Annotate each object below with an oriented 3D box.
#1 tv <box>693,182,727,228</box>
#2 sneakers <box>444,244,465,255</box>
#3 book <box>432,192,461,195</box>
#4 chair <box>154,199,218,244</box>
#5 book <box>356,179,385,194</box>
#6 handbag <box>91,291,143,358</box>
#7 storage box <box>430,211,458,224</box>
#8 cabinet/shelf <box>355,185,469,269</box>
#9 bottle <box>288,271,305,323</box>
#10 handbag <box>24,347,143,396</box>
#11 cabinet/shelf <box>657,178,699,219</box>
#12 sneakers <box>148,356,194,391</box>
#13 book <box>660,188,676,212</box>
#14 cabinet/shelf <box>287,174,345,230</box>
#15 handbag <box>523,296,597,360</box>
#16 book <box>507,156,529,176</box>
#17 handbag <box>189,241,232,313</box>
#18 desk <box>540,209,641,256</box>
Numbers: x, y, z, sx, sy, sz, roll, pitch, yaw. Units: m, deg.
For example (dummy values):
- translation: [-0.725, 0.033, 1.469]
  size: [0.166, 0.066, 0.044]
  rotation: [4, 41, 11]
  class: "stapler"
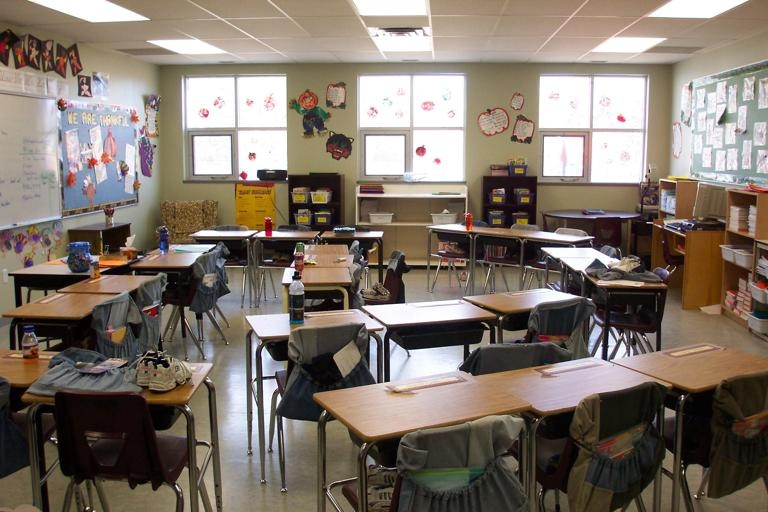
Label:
- translation: [4.809, -0.794, 8.390]
  size: [0.525, 0.527, 0.545]
  rotation: [-1, 3, -38]
  class: "tv"
- translation: [1.095, -0.109, 8.784]
  size: [0.283, 0.118, 0.130]
  rotation: [4, 9, 31]
  class: "sneakers"
- translation: [1.149, -1.164, 10.340]
  size: [0.492, 0.051, 0.294]
  rotation: [0, 7, 4]
  class: "book"
- translation: [-3.741, -0.716, 10.674]
  size: [0.968, 1.164, 0.947]
  rotation: [-1, 2, -23]
  class: "chair"
- translation: [-0.249, -1.272, 10.425]
  size: [0.467, 0.217, 0.528]
  rotation: [0, 7, -1]
  class: "book"
- translation: [-2.191, 0.572, 4.637]
  size: [0.180, 0.567, 0.437]
  rotation: [2, 11, 20]
  class: "handbag"
- translation: [1.075, -0.691, 10.122]
  size: [0.337, 0.132, 0.246]
  rotation: [1, 15, 2]
  class: "storage box"
- translation: [0.488, -0.574, 9.787]
  size: [1.502, 1.153, 0.570]
  rotation: [0, 5, 0]
  class: "cabinet/shelf"
- translation: [-0.712, 0.322, 4.559]
  size: [0.116, 0.387, 0.240]
  rotation: [-2, 8, -13]
  class: "bottle"
- translation: [-1.900, 0.724, 3.618]
  size: [0.644, 0.182, 0.516]
  rotation: [-2, 8, -17]
  class: "handbag"
- translation: [4.736, -0.937, 9.054]
  size: [0.267, 0.757, 0.687]
  rotation: [2, 5, 2]
  class: "cabinet/shelf"
- translation: [-1.352, 0.733, 3.601]
  size: [0.127, 0.137, 0.296]
  rotation: [1, 7, 12]
  class: "sneakers"
- translation: [4.686, -0.920, 9.321]
  size: [0.228, 0.384, 0.391]
  rotation: [-2, 9, 0]
  class: "book"
- translation: [-1.215, -0.974, 10.078]
  size: [1.086, 1.184, 0.383]
  rotation: [0, 3, 1]
  class: "cabinet/shelf"
- translation: [1.403, 0.508, 4.642]
  size: [0.501, 0.600, 0.475]
  rotation: [-1, 12, -3]
  class: "handbag"
- translation: [2.379, -1.586, 10.070]
  size: [0.311, 0.297, 0.304]
  rotation: [0, 9, -2]
  class: "book"
- translation: [-2.076, 0.242, 6.683]
  size: [0.333, 0.622, 0.882]
  rotation: [0, 13, 6]
  class: "handbag"
- translation: [3.538, -0.576, 9.617]
  size: [1.062, 0.658, 1.062]
  rotation: [-2, 7, -1]
  class: "desk"
